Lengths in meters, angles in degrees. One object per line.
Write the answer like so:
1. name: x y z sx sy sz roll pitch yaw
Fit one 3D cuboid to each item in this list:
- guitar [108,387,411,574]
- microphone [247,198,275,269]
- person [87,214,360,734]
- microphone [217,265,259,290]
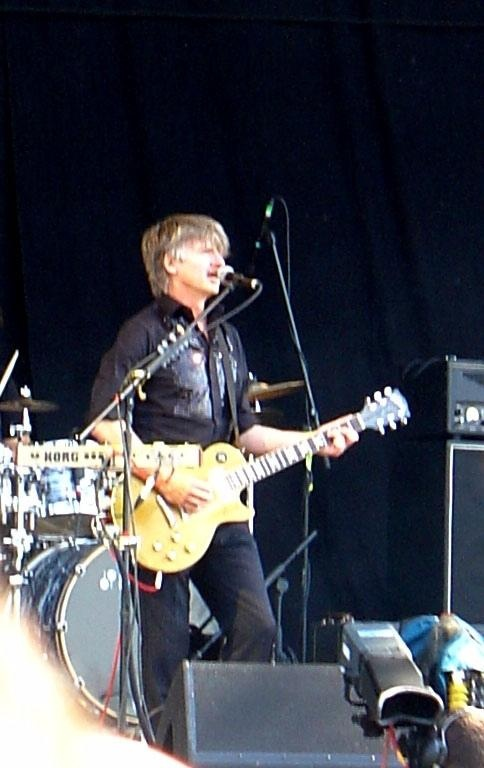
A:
1. guitar: 0.062 0.251 2.855 0.761 0.450 0.110 0 -8 -25
2. microphone: 0.058 -0.504 3.635 0.021 0.259 0.062 9 11 -20
3. person: -0.073 0.251 2.895 0.717 1.912 0.495 15 -28 -35
4. microphone: -0.008 -0.240 2.438 0.043 0.052 0.108 -27 31 -33
